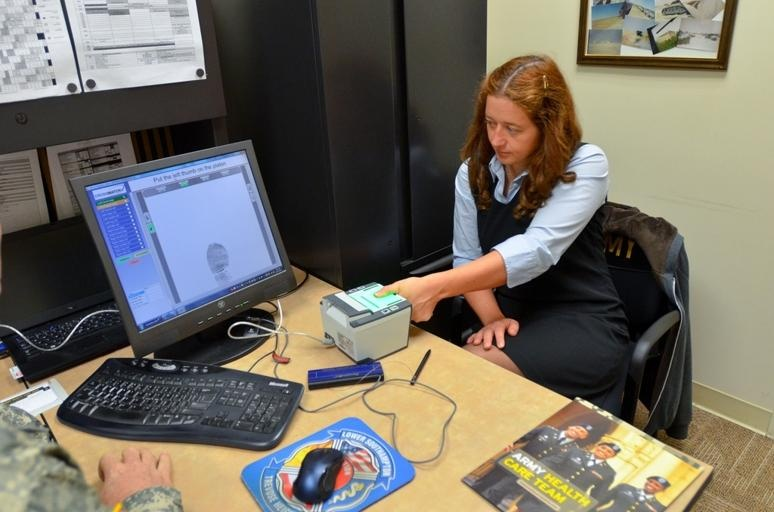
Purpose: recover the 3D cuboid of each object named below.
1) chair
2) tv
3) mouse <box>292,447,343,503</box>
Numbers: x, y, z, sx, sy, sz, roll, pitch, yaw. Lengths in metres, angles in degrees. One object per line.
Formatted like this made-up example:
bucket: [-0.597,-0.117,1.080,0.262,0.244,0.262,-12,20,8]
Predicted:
chair: [0.777,0.190,2.460,0.897,1.167,0.945,-22,30,-35]
tv: [-0.688,0.017,1.728,0.292,0.550,0.568,22,37,40]
mouse: [-0.178,0.537,1.322,0.083,0.043,0.131,7,45,20]
